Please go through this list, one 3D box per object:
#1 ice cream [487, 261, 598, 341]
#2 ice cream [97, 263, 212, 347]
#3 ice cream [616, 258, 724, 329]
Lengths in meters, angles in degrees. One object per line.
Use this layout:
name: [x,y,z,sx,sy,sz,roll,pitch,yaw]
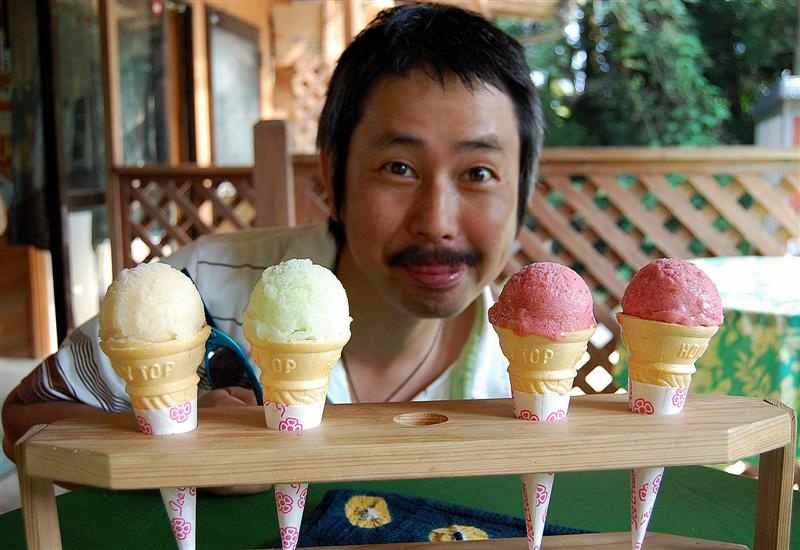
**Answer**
ice cream: [0.368,0.067,1.855,0.217,0.136,0.215,1,-3,2]
ice cream: [-0.596,0.068,1.788,0.209,0.231,0.209,0,-1,-17]
ice cream: [0.730,0.045,1.998,0.286,0.171,0.279,2,1,-16]
